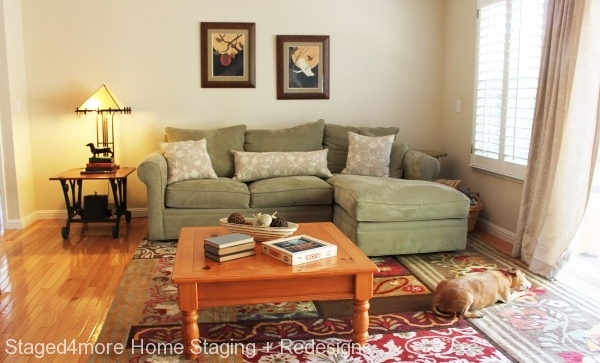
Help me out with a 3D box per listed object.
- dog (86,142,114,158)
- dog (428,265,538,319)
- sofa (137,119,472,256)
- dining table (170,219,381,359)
[{"bbox_3d":[-2.642,-0.421,5.380,0.253,0.223,0.472,-8,16,-22],"label":"dog"},{"bbox_3d":[1.717,0.980,3.690,0.979,0.286,0.390,-16,7,-16],"label":"dog"},{"bbox_3d":[-0.168,-0.049,5.206,3.921,1.122,2.260,0,15,3],"label":"sofa"},{"bbox_3d":[-0.184,0.819,3.339,1.577,0.914,0.933,-4,16,-10],"label":"dining table"}]
